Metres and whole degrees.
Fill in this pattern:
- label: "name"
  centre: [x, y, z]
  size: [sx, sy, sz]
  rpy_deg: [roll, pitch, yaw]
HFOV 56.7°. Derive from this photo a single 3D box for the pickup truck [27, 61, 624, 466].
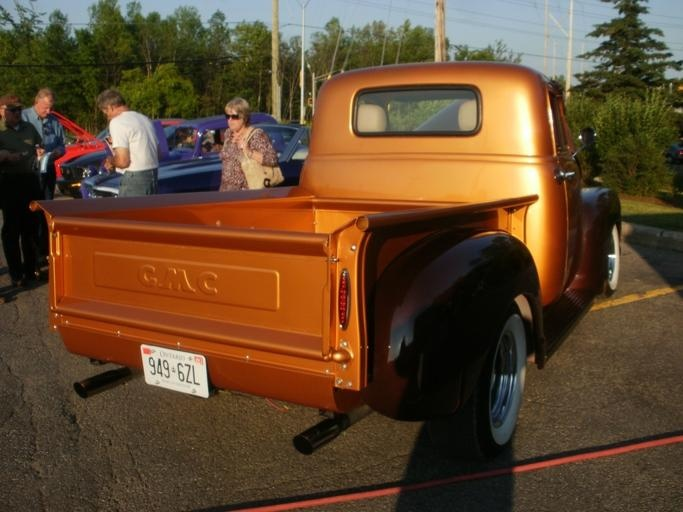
- label: "pickup truck"
  centre: [0.346, -0.125, 4.319]
  size: [2.301, 1.947, 3.930]
  rpy_deg: [9, 19, 34]
